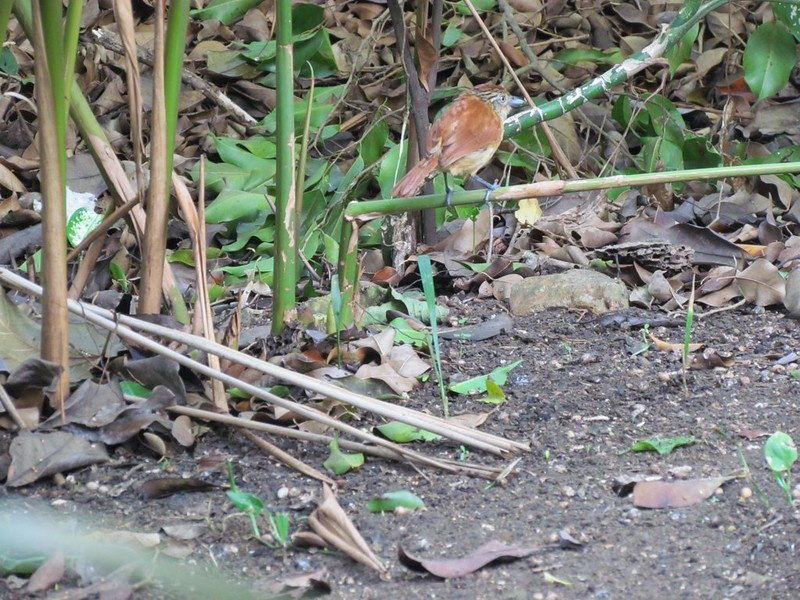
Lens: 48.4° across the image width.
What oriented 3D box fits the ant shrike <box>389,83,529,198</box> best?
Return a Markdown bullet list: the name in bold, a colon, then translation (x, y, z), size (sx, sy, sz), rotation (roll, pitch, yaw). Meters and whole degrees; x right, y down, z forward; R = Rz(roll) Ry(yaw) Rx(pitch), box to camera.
- **ant shrike**: translation (0.190, -0.513, 2.916), size (0.547, 0.327, 0.224), rotation (-19, 26, -41)
